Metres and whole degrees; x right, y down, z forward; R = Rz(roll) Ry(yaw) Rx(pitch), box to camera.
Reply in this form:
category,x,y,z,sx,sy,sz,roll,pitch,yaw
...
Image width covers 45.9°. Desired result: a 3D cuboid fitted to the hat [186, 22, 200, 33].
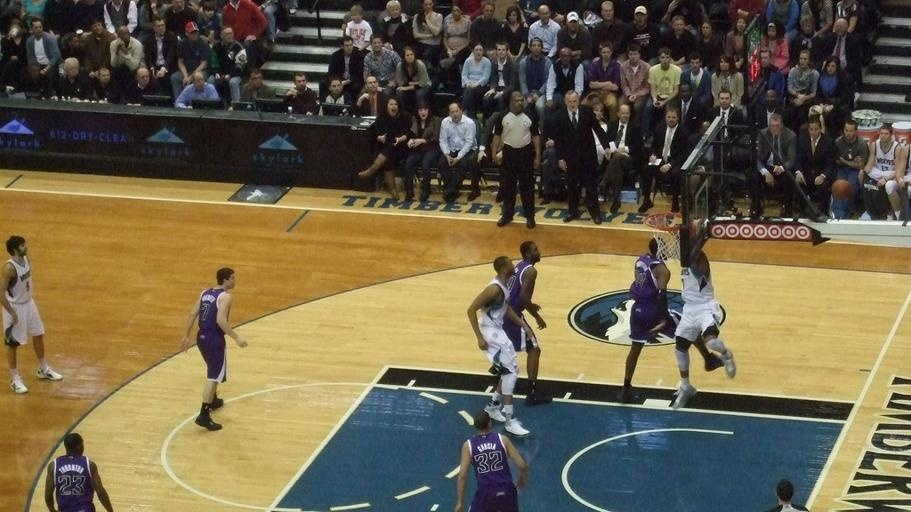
category,x,y,z,sx,sy,sz,roll,pitch,yaw
hat,-6.721,-5.781,27.347,0.256,0.204,0.345,-17,24,-30

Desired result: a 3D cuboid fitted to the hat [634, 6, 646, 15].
category,x,y,z,sx,sy,sz,roll,pitch,yaw
hat,4.486,-5.930,26.034,0.303,0.211,0.579,5,7,8

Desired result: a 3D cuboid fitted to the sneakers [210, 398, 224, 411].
category,x,y,z,sx,sy,sz,roll,pitch,yaw
sneakers,-4.342,2.694,19.609,0.115,0.243,0.256,14,33,12

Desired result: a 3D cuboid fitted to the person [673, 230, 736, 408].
category,x,y,z,sx,sy,sz,roll,pitch,yaw
person,4.402,1.331,19.171,0.946,2.948,0.803,5,7,12

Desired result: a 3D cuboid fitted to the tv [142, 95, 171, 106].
category,x,y,z,sx,sy,sz,roll,pitch,yaw
tv,-7.449,-3.854,26.871,0.466,0.337,0.439,2,5,9

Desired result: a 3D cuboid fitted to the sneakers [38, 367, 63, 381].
category,x,y,z,sx,sy,sz,roll,pitch,yaw
sneakers,-7.660,2.218,20.420,0.513,0.230,0.212,2,13,0

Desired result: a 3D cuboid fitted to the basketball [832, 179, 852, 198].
category,x,y,z,sx,sy,sz,roll,pitch,yaw
basketball,7.876,-1.372,22.096,0.423,0.445,0.435,-4,8,-23

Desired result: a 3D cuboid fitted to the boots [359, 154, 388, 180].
category,x,y,z,sx,sy,sz,roll,pitch,yaw
boots,-1.943,-2.133,25.514,0.944,0.421,0.304,-27,5,45

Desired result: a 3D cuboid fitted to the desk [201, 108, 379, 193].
category,x,y,z,sx,sy,sz,roll,pitch,yaw
desk,-4.056,-2.512,24.867,6.138,1.662,2.415,3,3,5

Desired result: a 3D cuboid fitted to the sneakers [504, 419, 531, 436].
category,x,y,z,sx,sy,sz,roll,pitch,yaw
sneakers,1.168,3.019,19.059,0.530,0.245,0.199,14,19,17

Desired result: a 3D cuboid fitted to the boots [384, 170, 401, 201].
category,x,y,z,sx,sy,sz,roll,pitch,yaw
boots,-1.571,-1.712,25.605,0.262,0.879,0.367,-14,18,2

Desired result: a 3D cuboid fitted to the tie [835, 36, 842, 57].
category,x,y,z,sx,sy,sz,roll,pitch,yaw
tie,9.060,-4.907,25.387,0.234,0.477,0.127,5,8,12

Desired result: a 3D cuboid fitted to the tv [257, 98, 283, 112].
category,x,y,z,sx,sy,sz,roll,pitch,yaw
tv,-4.512,-3.654,26.215,0.578,0.307,0.498,2,4,-3

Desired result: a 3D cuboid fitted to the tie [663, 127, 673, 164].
category,x,y,z,sx,sy,sz,roll,pitch,yaw
tie,4.810,-2.496,24.260,0.232,0.766,0.066,8,8,28

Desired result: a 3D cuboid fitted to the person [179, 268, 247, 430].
category,x,y,z,sx,sy,sz,roll,pitch,yaw
person,-4.298,1.673,19.073,0.929,2.889,1.001,1,8,-22

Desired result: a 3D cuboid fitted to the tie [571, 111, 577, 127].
category,x,y,z,sx,sy,sz,roll,pitch,yaw
tie,2.640,-3.076,23.948,0.169,0.277,0.124,5,7,10

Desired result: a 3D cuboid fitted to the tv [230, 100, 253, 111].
category,x,y,z,sx,sy,sz,roll,pitch,yaw
tv,-5.237,-3.702,26.557,0.360,0.247,0.258,2,42,-1
